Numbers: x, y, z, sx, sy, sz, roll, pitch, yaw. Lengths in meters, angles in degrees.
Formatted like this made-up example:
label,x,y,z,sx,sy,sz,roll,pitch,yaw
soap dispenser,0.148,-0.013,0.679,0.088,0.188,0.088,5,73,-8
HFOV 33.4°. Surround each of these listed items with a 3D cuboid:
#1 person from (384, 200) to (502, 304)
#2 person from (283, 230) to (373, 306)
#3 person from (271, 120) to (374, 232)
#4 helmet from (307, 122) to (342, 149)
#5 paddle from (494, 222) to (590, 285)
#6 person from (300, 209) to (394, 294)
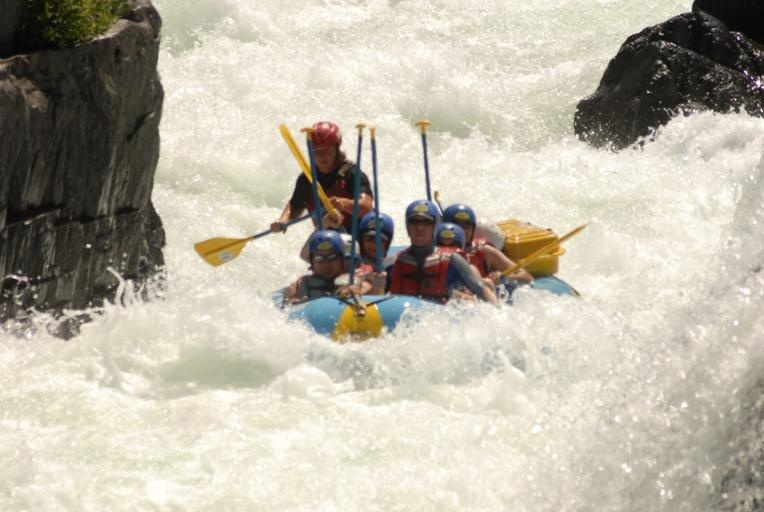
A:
label,x,y,z,sx,sy,sz,roll,pitch,yaw
person,0.471,0.009,14.493,1.668,1.223,0.642,-2,1,16
person,-0.624,0.160,14.399,0.982,0.817,1.476,0,19,8
person,-0.781,-0.980,16.283,0.965,0.990,1.640,-19,44,15
helmet,-0.656,-1.468,15.387,0.258,0.296,0.340,13,20,35
paddle,1.919,-0.005,15.349,1.278,0.091,0.177,-31,46,10
person,-0.416,0.037,14.914,0.801,1.048,1.038,1,65,4
